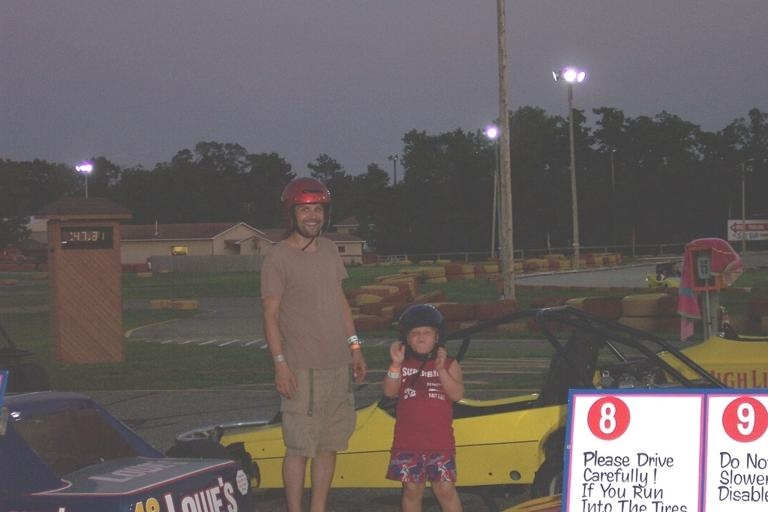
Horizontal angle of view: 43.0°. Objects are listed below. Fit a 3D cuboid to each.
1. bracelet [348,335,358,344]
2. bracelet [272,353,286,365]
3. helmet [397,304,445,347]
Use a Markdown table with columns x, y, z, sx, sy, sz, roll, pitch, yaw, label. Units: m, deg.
| x | y | z | sx | sy | sz | roll | pitch | yaw | label |
| --- | --- | --- | --- | --- | --- | --- | --- | --- | --- |
| -0.284 | 0.792 | 9.225 | 0.078 | 0.063 | 0.080 | 0 | -3 | -15 | bracelet |
| -0.944 | 0.946 | 8.889 | 0.086 | 0.066 | 0.089 | 1 | 0 | -13 | bracelet |
| 0.354 | 0.630 | 8.959 | 0.303 | 0.414 | 0.371 | 2 | -1 | 7 | helmet |
